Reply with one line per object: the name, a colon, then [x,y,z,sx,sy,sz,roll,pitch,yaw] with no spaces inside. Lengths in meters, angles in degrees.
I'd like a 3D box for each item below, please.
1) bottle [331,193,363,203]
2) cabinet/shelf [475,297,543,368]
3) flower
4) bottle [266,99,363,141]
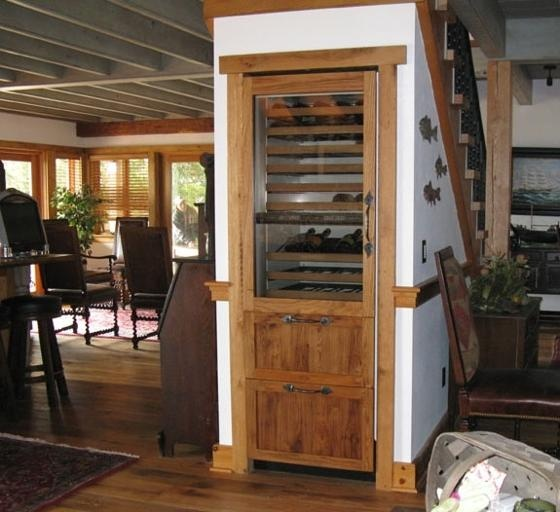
bottle: [0.322,-0.282,2.714,0.162,0.037,0.074,1,10,23]
cabinet/shelf: [1.443,0.572,3.605,0.474,0.469,0.757,0,4,20]
flower: [1.445,0.185,3.708,0.415,0.261,0.428,-7,-5,1]
bottle: [0.177,-0.675,2.701,0.507,0.199,0.111,1,9,19]
